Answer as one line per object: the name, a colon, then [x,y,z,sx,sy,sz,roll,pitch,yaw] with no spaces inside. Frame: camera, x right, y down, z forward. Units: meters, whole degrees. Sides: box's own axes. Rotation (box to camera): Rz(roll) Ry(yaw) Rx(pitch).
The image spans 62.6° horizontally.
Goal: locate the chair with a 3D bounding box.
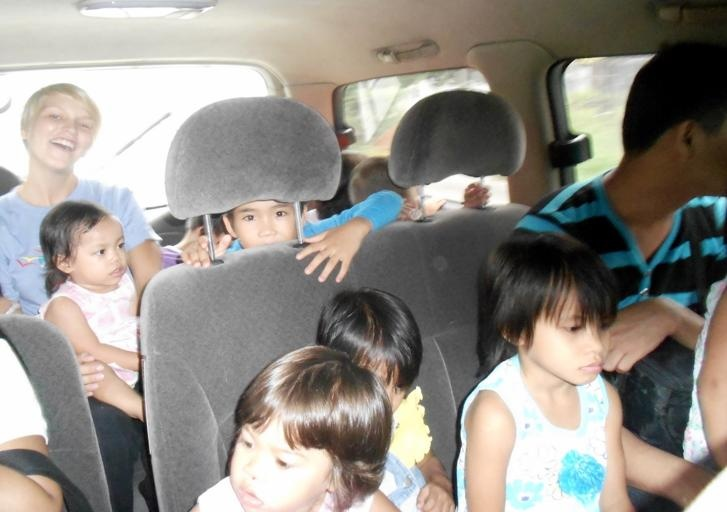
chair: [-0.381,0.043,2.314,1.332,1.571,1.101,0,0,-18]
